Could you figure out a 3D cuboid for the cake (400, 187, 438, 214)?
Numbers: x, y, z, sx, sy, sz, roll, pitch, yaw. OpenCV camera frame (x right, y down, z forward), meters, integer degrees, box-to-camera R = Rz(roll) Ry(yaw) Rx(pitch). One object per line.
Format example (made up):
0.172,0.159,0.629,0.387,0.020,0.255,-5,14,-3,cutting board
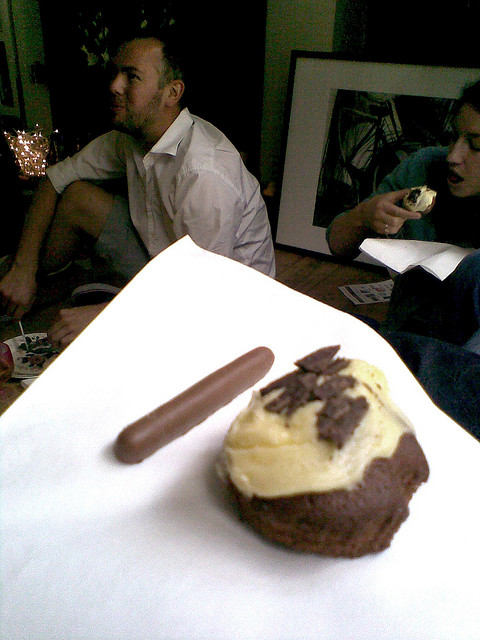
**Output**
0.428,-0.289,1.258,0.073,0.058,0.056,15,38,10,cake

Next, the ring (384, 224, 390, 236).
0.351,-0.218,1.253,0.005,0.006,0.022,13,60,-17,ring
